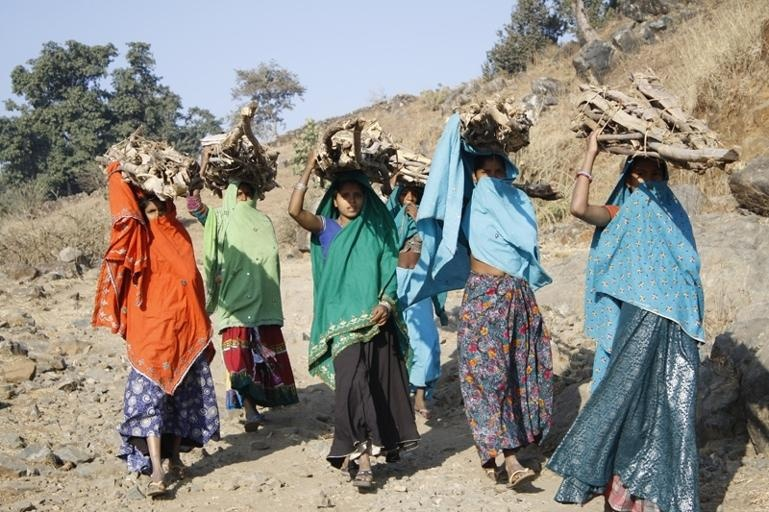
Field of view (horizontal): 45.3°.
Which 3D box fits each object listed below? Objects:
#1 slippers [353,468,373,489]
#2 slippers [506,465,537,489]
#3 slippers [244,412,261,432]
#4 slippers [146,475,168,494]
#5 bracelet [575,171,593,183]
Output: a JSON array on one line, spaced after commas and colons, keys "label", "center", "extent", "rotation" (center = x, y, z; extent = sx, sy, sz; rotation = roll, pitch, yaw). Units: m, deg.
[{"label": "slippers", "center": [-0.242, 2.582, 10.453], "extent": [0.169, 0.170, 0.438], "rotation": [0, -15, 1]}, {"label": "slippers", "center": [1.523, 2.502, 10.265], "extent": [0.156, 0.125, 0.319], "rotation": [-12, -10, -40]}, {"label": "slippers", "center": [-1.675, 2.148, 11.756], "extent": [0.148, 0.299, 0.280], "rotation": [7, 22, -7]}, {"label": "slippers", "center": [-2.546, 2.620, 10.324], "extent": [0.230, 0.163, 0.406], "rotation": [-2, 0, -15]}, {"label": "bracelet", "center": [2.185, -0.824, 10.092], "extent": [0.158, 0.058, 0.164], "rotation": [35, 2, 39]}]
